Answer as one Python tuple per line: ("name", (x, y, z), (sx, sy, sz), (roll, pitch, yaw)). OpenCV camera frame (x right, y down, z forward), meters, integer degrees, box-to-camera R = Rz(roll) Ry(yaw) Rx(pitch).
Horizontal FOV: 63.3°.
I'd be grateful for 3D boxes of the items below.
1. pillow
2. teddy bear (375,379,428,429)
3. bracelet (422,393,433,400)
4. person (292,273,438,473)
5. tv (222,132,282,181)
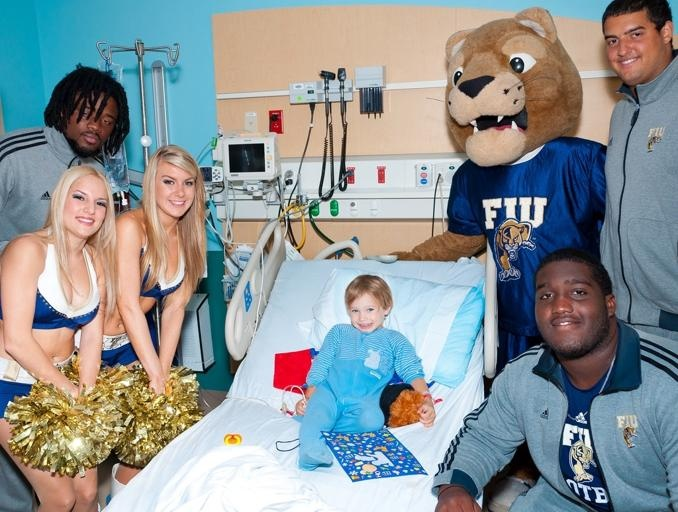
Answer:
("pillow", (0.338, 0.330, 2.735), (0.577, 0.178, 0.584), (5, 52, 16))
("teddy bear", (0.261, 0.654, 2.387), (0.166, 0.083, 0.200), (0, 17, -28))
("bracelet", (0.385, 0.602, 2.356), (0.028, 0.010, 0.029), (-4, 10, -33))
("person", (0.159, 0.530, 2.419), (0.623, 0.261, 1.025), (7, 37, 14))
("tv", (-0.525, -0.608, 3.615), (0.457, 0.404, 0.260), (-1, 6, 7))
